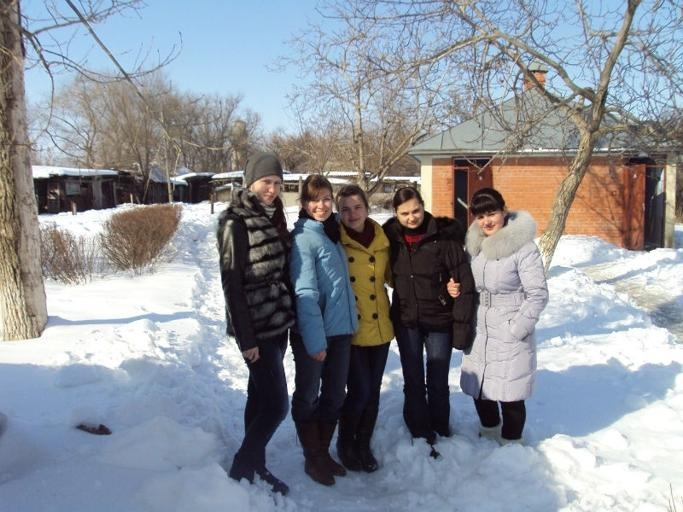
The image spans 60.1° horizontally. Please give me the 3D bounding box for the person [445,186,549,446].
[{"bbox_3d":[1.590,0.605,5.808,0.798,2.506,0.442,2,8,20],"label":"person"}]

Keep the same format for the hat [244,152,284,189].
[{"bbox_3d":[-0.713,-0.804,5.530,0.333,0.358,0.271,1,2,2],"label":"hat"}]

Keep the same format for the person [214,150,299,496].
[{"bbox_3d":[-0.764,0.614,5.417,0.694,3.094,0.606,-2,7,-14],"label":"person"}]
